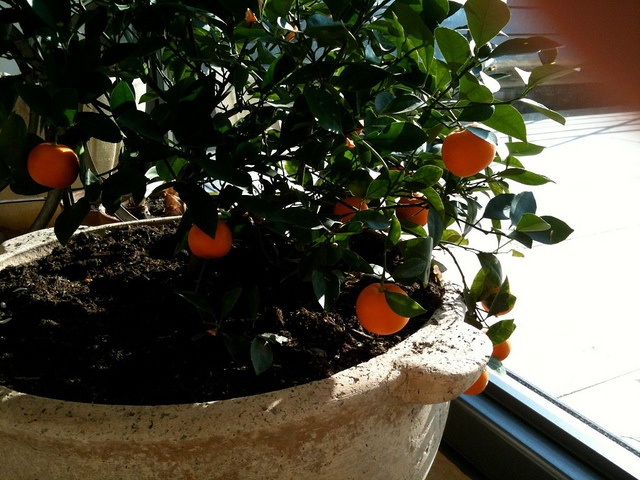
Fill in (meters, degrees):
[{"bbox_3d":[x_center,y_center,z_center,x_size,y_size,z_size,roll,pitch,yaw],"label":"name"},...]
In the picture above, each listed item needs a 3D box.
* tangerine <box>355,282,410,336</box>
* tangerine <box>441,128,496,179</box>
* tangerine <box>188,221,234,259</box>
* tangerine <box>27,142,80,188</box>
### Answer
[{"bbox_3d":[0.069,0.077,0.629,0.063,0.064,0.062,1,10,-12],"label":"tangerine"},{"bbox_3d":[0.163,-0.095,0.562,0.059,0.051,0.056,2,-6,-19],"label":"tangerine"},{"bbox_3d":[-0.139,0.003,0.628,0.046,0.046,0.048,5,-1,19],"label":"tangerine"},{"bbox_3d":[-0.313,-0.086,0.587,0.055,0.052,0.055,-3,9,-21],"label":"tangerine"}]
